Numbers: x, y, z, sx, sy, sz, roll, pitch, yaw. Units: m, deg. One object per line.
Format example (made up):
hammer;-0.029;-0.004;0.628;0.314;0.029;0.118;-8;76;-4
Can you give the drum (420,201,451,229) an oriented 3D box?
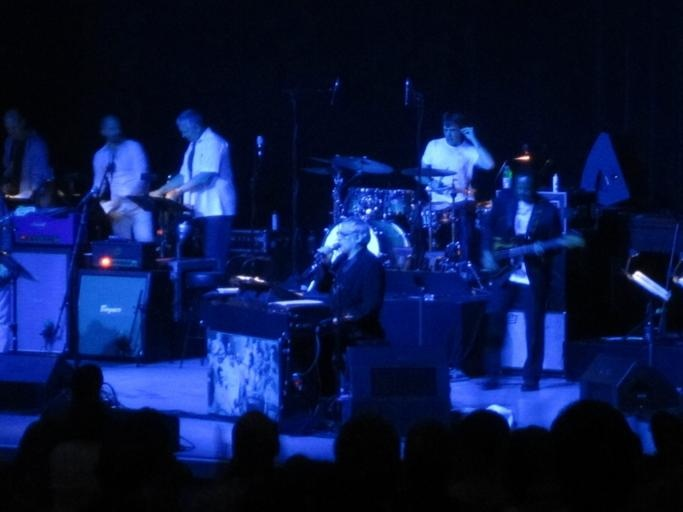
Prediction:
drum;1.042;-0.461;8.742;0.325;0.151;0.441;1;4;10

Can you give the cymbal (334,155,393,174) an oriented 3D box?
cymbal;0.184;-1.124;9.578;0.669;0.198;1.112;3;2;-5

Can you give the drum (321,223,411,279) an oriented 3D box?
drum;0.321;-0.110;8.831;0.526;0.913;0.931;3;-4;-44

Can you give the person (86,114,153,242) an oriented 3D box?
person;-2.238;-0.786;8.011;0.633;0.847;0.596;3;1;-12

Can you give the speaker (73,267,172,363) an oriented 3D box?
speaker;-1.829;0.484;7.151;1.000;0.965;0.723;0;-4;-1

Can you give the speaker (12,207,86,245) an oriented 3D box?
speaker;-2.599;-0.238;6.843;0.622;0.307;0.102;3;1;17

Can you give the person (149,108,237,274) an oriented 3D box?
person;-1.452;-0.690;7.910;0.793;1.152;0.741;2;1;-22

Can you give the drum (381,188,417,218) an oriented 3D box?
drum;0.689;-0.621;9.386;0.399;0.278;0.124;2;1;-14
